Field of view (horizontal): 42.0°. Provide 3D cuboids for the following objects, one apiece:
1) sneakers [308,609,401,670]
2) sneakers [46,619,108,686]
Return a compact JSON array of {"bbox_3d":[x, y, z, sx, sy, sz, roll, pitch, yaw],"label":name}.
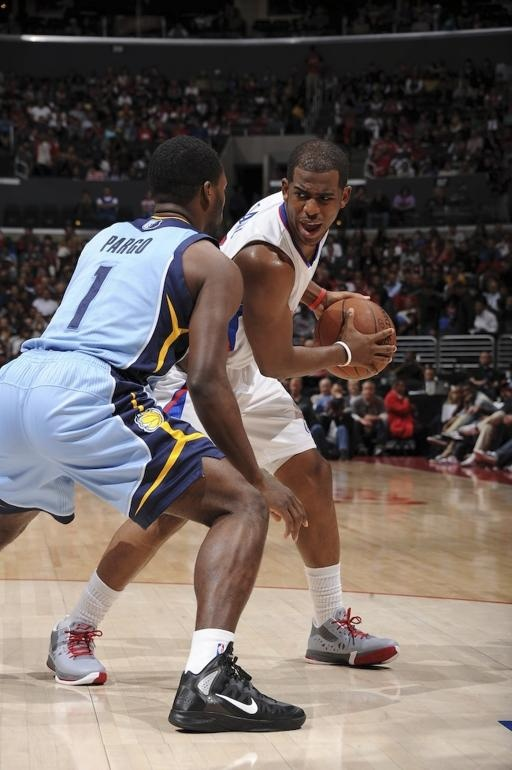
[{"bbox_3d":[0.247,0.660,1.726,0.272,0.130,0.090,-12,-27,39],"label":"sneakers"},{"bbox_3d":[-0.400,0.594,1.481,0.082,0.078,0.187,9,-6,-25],"label":"sneakers"}]
